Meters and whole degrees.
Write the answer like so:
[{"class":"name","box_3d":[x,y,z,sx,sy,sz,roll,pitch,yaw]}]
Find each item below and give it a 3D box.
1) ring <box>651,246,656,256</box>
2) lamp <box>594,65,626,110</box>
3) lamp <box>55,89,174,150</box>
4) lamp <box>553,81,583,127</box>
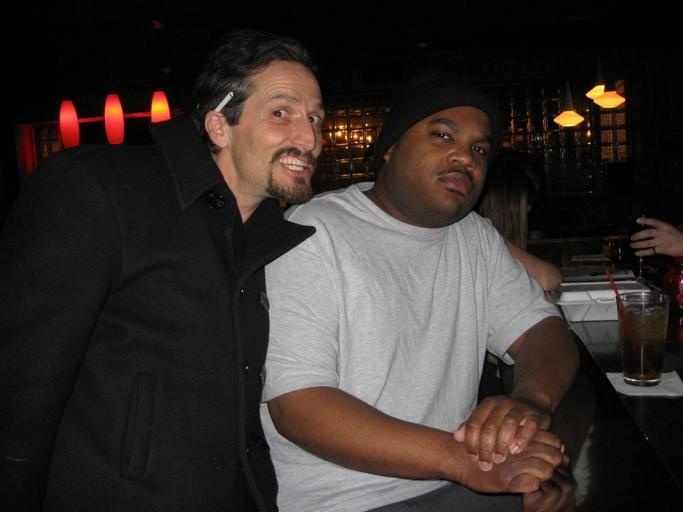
[{"class":"ring","box_3d":[1.391,-0.026,2.463,0.014,0.036,0.027,-2,10,-23]},{"class":"lamp","box_3d":[2.900,-1.869,6.084,0.294,0.455,0.285,-46,28,-15]},{"class":"lamp","box_3d":[-2.032,-1.222,4.966,1.017,0.416,0.176,-5,3,0]},{"class":"lamp","box_3d":[2.648,-1.742,6.464,0.366,0.475,0.373,-1,4,10]}]
